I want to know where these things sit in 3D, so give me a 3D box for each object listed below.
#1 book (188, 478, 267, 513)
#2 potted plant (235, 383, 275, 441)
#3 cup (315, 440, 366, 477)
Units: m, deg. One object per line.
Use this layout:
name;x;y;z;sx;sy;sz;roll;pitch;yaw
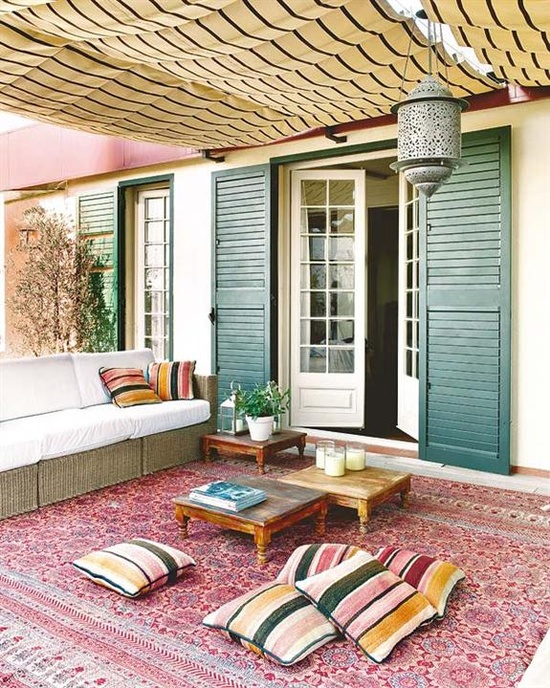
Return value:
book;-0.224;0.717;2.641;0.351;0.063;0.290;2;6;37
potted plant;-0.125;0.516;4.207;0.273;0.406;0.270;8;7;44
cup;0.362;0.649;3.094;0.231;0.177;0.230;3;5;0
